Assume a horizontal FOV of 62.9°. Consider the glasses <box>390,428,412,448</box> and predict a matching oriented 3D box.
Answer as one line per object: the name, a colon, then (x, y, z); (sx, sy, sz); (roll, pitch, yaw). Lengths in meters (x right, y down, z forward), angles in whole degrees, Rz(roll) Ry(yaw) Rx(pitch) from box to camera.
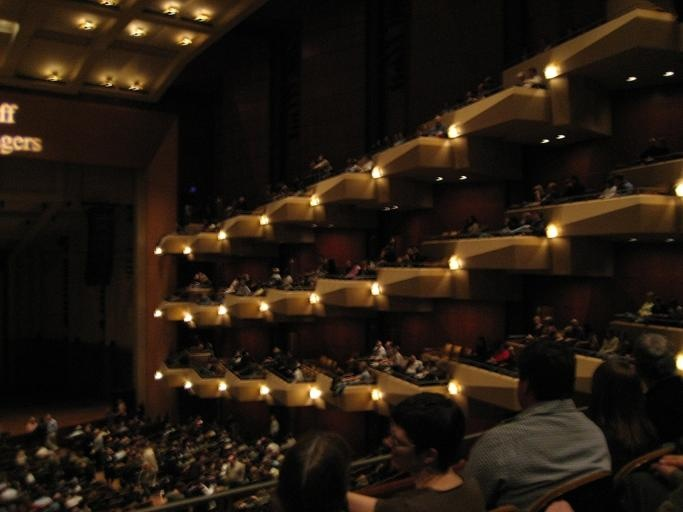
glasses: (0.359, 1.122, 3.479); (0.131, 0.103, 0.079); (29, 18, 37)
